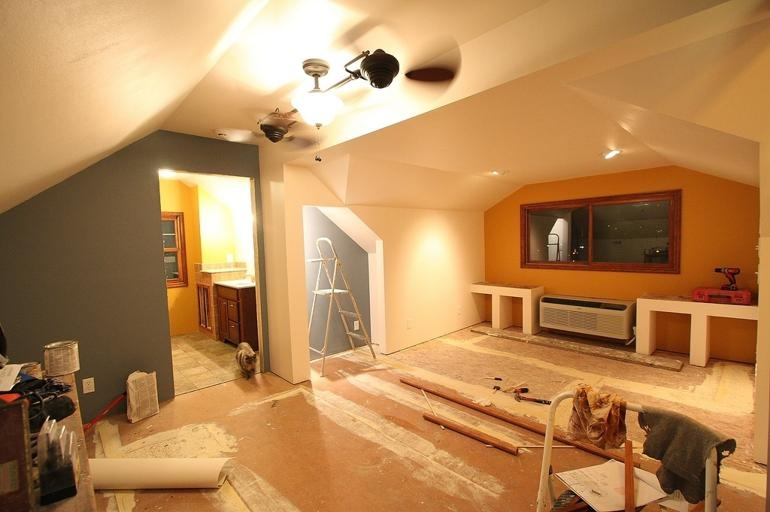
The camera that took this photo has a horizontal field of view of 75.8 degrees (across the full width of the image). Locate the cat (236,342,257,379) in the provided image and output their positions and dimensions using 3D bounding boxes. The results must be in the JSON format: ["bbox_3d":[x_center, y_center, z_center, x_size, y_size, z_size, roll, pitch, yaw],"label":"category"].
[{"bbox_3d":[-1.695,1.270,6.071,0.213,0.428,0.310,-2,0,-16],"label":"cat"}]

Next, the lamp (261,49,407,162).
[{"bbox_3d":[-0.536,-1.409,4.295,1.414,0.447,0.562,-16,-5,24],"label":"lamp"}]

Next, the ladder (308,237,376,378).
[{"bbox_3d":[-0.508,0.587,6.436,1.035,1.712,0.852,-2,0,-32],"label":"ladder"}]

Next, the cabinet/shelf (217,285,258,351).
[{"bbox_3d":[-2.066,0.862,7.002,0.462,0.867,1.007,-1,0,-33],"label":"cabinet/shelf"}]

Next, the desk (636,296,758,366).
[{"bbox_3d":[3.814,0.912,6.015,0.908,0.510,0.235,0,-1,36],"label":"desk"}]
